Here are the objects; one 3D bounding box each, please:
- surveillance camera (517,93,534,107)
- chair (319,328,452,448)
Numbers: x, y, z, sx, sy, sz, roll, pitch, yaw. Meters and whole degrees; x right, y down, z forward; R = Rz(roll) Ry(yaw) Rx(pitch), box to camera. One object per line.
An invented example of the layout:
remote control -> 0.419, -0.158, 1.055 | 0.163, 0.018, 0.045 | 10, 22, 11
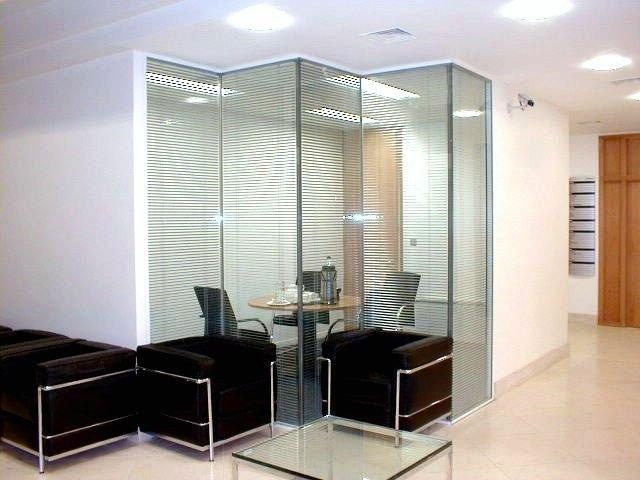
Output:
surveillance camera -> 2.674, -1.787, 6.624 | 0.280, 0.175, 0.097 | 8, -6, -36
chair -> 0.775, 1.425, 5.391 | 1.155, 0.763, 1.130 | 0, -2, 37
